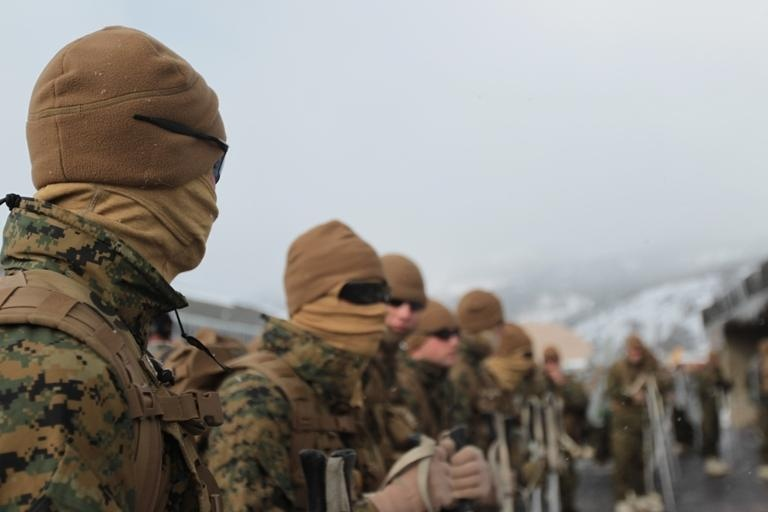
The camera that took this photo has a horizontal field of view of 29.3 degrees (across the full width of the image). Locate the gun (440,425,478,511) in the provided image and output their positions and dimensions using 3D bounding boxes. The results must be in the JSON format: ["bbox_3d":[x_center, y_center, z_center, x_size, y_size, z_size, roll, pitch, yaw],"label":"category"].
[{"bbox_3d":[0.390,1.134,8.024,0.131,0.365,0.367,7,-59,-5],"label":"gun"}]

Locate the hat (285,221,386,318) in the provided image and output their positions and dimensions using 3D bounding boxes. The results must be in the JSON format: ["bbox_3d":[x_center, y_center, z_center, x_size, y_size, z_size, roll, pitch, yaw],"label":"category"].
[{"bbox_3d":[-0.354,0.057,7.614,0.595,0.599,0.461,-7,-4,8],"label":"hat"}]
